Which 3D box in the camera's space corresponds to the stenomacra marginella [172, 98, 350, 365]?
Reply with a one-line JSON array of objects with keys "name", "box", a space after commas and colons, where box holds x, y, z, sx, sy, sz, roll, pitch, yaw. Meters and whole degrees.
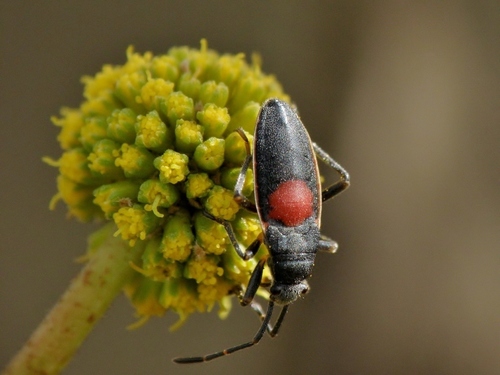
[{"name": "stenomacra marginella", "box": [0.247, 0.499, 5.137, 1.308, 2.591, 0.458, 0, 12, -19]}]
